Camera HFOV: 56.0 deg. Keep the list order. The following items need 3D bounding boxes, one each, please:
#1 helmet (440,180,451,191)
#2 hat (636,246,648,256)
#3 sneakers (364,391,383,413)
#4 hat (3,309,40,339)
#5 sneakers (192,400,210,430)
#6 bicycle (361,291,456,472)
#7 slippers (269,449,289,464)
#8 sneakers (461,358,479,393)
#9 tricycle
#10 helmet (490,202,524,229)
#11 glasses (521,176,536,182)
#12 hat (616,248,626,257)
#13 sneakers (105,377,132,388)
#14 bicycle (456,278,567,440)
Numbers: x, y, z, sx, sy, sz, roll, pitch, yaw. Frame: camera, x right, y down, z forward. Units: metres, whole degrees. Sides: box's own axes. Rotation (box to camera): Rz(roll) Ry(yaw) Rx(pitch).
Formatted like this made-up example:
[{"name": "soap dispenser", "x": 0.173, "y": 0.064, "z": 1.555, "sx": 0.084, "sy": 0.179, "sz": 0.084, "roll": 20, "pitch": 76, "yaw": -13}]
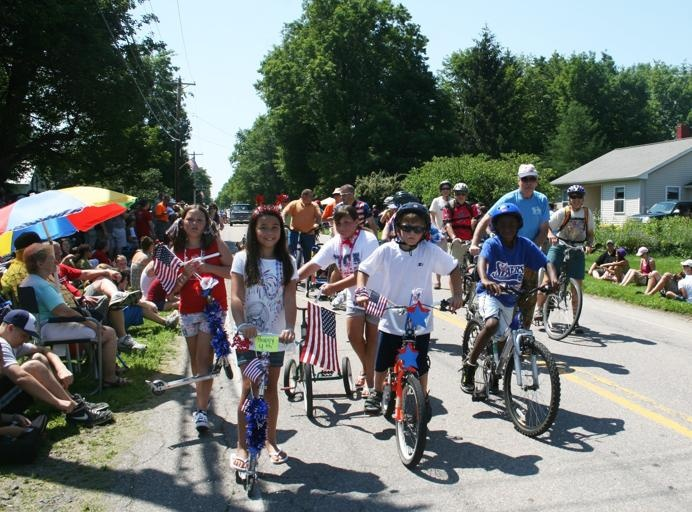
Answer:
[{"name": "helmet", "x": 2.117, "y": -1.501, "z": 13.696, "sx": 0.196, "sy": 0.269, "sz": 0.277, "roll": -3, "pitch": -28, "yaw": 1}, {"name": "hat", "x": 7.946, "y": -0.155, "z": 17.435, "sx": 0.358, "sy": 0.219, "sz": 0.246, "roll": -16, "pitch": -4, "yaw": -43}, {"name": "sneakers", "x": 0.330, "y": 1.681, "z": 7.551, "sx": 0.111, "sy": 0.166, "sz": 0.359, "roll": -1, "pitch": -11, "yaw": 9}, {"name": "hat", "x": -3.681, "y": 0.735, "z": 7.465, "sx": 0.365, "sy": 0.216, "sz": 0.255, "roll": 26, "pitch": 0, "yaw": -27}, {"name": "sneakers", "x": -1.594, "y": 1.802, "z": 7.268, "sx": 0.169, "sy": 0.214, "sz": 0.230, "roll": -3, "pitch": 11, "yaw": -14}, {"name": "bicycle", "x": 0.652, "y": 1.192, "z": 6.819, "sx": 0.399, "sy": 1.670, "sz": 1.222, "roll": -1, "pitch": 10, "yaw": -1}, {"name": "slippers", "x": -0.669, "y": 2.008, "z": 6.630, "sx": 0.185, "sy": 0.149, "sz": 0.156, "roll": -2, "pitch": 10, "yaw": -9}, {"name": "sneakers", "x": 1.543, "y": 1.431, "z": 7.932, "sx": 0.145, "sy": 0.298, "sz": 0.405, "roll": 12, "pitch": 0, "yaw": 34}, {"name": "tricycle", "x": -0.372, "y": 1.158, "z": 7.699, "sx": 0.680, "sy": 1.239, "sz": 1.218, "roll": 3, "pitch": 0, "yaw": -14}, {"name": "helmet", "x": 1.905, "y": -0.526, "z": 7.694, "sx": 0.250, "sy": 0.405, "sz": 0.280, "roll": -1, "pitch": -2, "yaw": 19}, {"name": "glasses", "x": 2.688, "y": -1.134, "z": 9.555, "sx": 0.092, "sy": 0.047, "sz": 0.129, "roll": 6, "pitch": -9, "yaw": 5}, {"name": "hat", "x": 7.139, "y": -0.190, "z": 16.795, "sx": 0.192, "sy": 0.247, "sz": 0.259, "roll": 3, "pitch": -21, "yaw": 2}, {"name": "sneakers", "x": -2.941, "y": 1.602, "z": 8.439, "sx": 0.285, "sy": 0.091, "sz": 0.121, "roll": -4, "pitch": 13, "yaw": -11}, {"name": "bicycle", "x": 1.837, "y": 1.073, "z": 7.695, "sx": 0.961, "sy": 1.610, "sz": 2.366, "roll": 2, "pitch": 3, "yaw": -13}]
